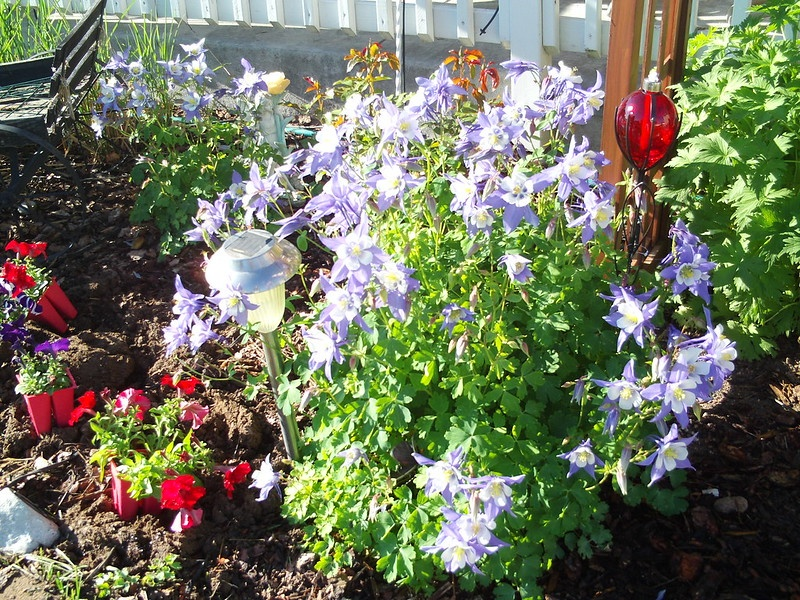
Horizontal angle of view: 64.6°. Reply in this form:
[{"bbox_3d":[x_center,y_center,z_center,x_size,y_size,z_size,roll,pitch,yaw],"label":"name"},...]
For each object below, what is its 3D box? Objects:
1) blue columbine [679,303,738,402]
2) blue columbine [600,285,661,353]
[{"bbox_3d":[1.009,0.153,2.076,0.258,0.255,0.114,-23,0,-22],"label":"blue columbine"},{"bbox_3d":[0.702,0.052,1.947,0.091,0.200,0.192,-10,25,-25],"label":"blue columbine"}]
